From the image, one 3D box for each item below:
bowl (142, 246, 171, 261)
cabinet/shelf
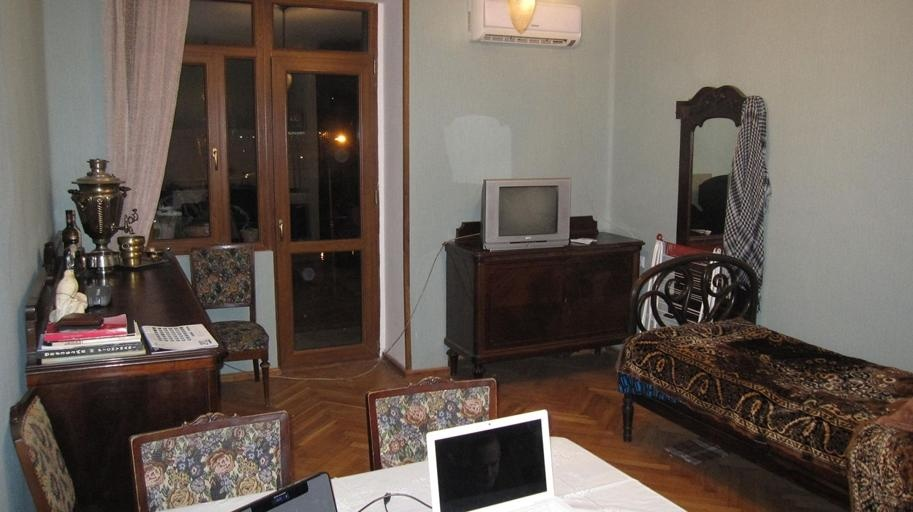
[{"bbox_3d":[-2.462,-0.017,5.138,0.136,0.067,0.182,0,8,-4],"label":"bowl"},{"bbox_3d":[0.740,0.391,5.750,1.115,0.648,0.384,-3,10,-17],"label":"cabinet/shelf"}]
